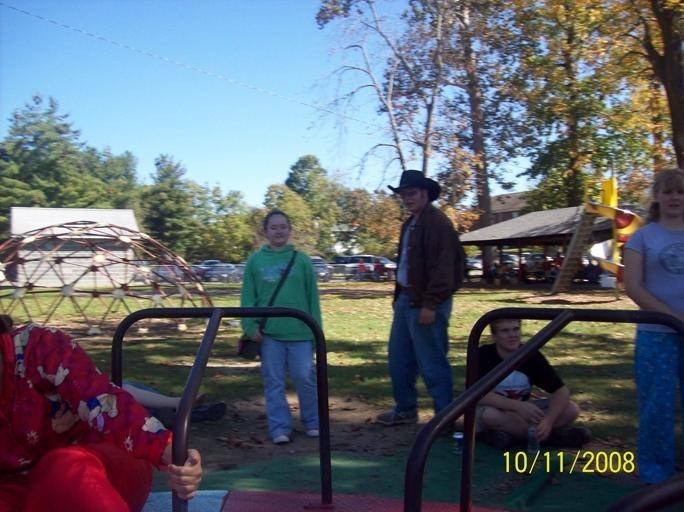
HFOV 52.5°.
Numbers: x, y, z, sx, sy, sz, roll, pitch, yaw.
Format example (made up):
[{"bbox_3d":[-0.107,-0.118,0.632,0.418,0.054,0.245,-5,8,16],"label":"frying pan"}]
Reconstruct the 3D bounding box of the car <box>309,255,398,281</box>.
[{"bbox_3d":[0.573,0.657,38.684,4.872,1.051,1.796,-1,-1,17],"label":"car"}]

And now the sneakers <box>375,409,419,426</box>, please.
[{"bbox_3d":[0.476,1.394,6.000,0.399,0.120,0.128,2,-4,-5],"label":"sneakers"}]

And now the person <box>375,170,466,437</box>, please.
[{"bbox_3d":[0.653,0.376,5.605,0.592,2.159,0.788,-1,4,-8],"label":"person"}]

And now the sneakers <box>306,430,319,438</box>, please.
[{"bbox_3d":[-0.240,1.459,5.764,0.068,0.061,0.122,-1,3,-24],"label":"sneakers"}]

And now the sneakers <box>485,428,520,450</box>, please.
[{"bbox_3d":[1.192,1.370,5.234,0.188,0.051,0.174,6,-4,-36],"label":"sneakers"}]

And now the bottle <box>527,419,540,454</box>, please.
[{"bbox_3d":[1.403,1.329,5.058,0.084,0.176,0.182,1,3,16],"label":"bottle"}]

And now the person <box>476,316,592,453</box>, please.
[{"bbox_3d":[1.402,0.945,5.280,0.741,0.961,0.522,-2,4,-29],"label":"person"}]

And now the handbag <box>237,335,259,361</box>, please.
[{"bbox_3d":[-0.752,0.747,5.693,0.171,0.192,0.179,0,3,-6],"label":"handbag"}]

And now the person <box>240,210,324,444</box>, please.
[{"bbox_3d":[-0.512,0.553,5.750,0.674,1.880,0.722,0,4,-2],"label":"person"}]
